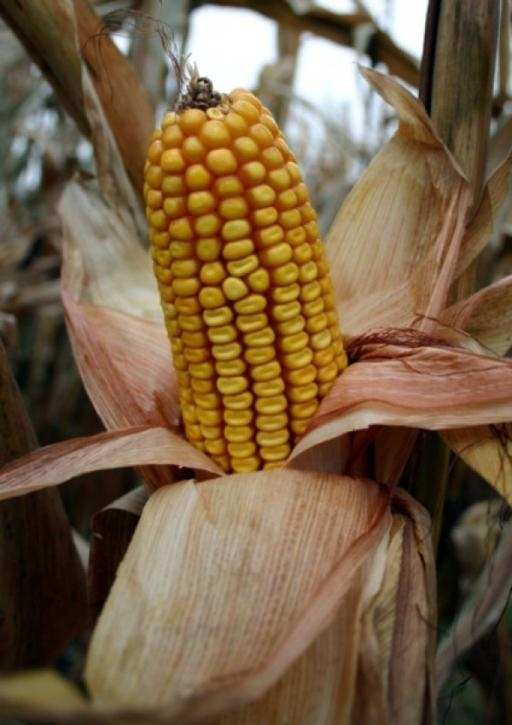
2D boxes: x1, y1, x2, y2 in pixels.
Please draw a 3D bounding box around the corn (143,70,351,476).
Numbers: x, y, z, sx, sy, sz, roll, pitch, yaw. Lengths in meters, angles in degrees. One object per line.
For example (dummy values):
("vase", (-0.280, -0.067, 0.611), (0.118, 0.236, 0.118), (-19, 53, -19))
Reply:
("corn", (0.013, -0.063, 1.074), (0.195, 0.607, 0.197), (-9, 12, 5))
